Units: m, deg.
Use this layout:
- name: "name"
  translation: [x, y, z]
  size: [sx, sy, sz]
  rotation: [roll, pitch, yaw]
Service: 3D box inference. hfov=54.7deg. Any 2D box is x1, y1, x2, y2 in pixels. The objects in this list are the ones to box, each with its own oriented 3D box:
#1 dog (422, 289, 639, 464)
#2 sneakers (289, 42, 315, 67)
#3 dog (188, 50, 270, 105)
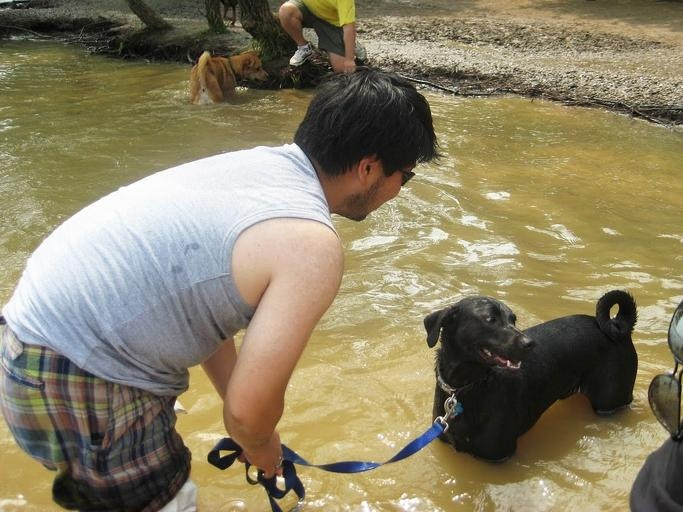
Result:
- name: "dog"
  translation: [1.409, 0.731, 4.594]
  size: [1.819, 0.996, 0.683]
  rotation: [-9, 20, -30]
- name: "sneakers"
  translation: [-0.709, -3.503, 11.413]
  size: [0.234, 0.246, 0.562]
  rotation: [26, 53, 17]
- name: "dog"
  translation: [-1.804, -2.999, 11.245]
  size: [1.641, 0.844, 0.527]
  rotation: [7, 32, 42]
